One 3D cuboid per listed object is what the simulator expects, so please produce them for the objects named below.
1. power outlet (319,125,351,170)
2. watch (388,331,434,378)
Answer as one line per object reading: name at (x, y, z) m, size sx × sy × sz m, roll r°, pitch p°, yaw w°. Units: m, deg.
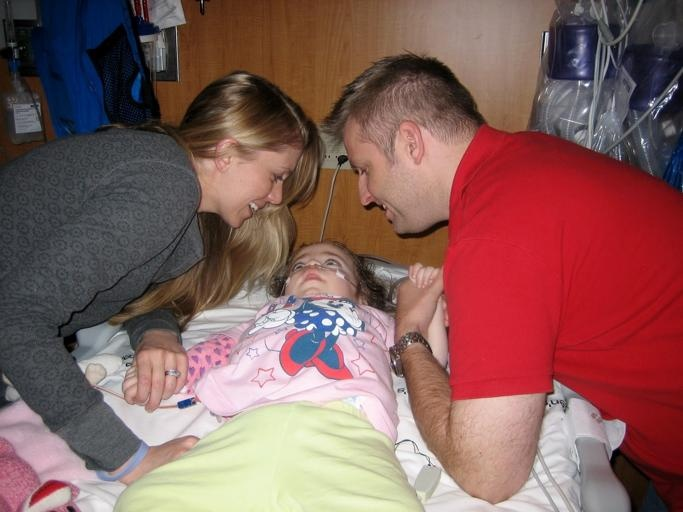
power outlet at (-0.033, -0.493, 2.674) m, size 0.162 × 0.283 × 0.065 m, roll -3°, pitch 16°, yaw 9°
watch at (0.238, 0.336, 1.879) m, size 0.117 × 0.121 × 0.078 m, roll -32°, pitch 72°, yaw -27°
